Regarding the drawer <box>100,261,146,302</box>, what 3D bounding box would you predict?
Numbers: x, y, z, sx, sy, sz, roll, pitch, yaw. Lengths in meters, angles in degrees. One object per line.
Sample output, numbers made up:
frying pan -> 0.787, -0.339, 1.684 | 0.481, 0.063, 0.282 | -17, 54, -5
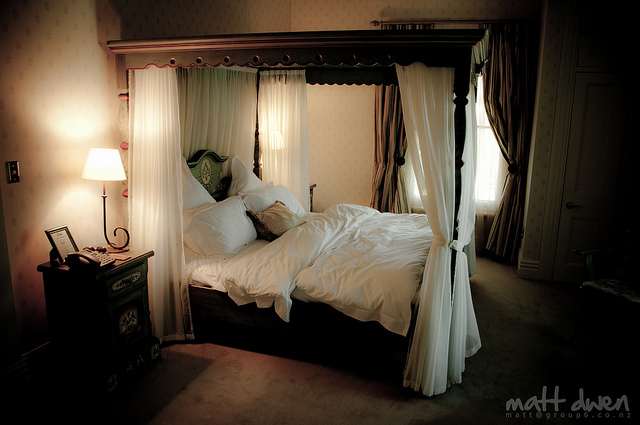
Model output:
drawer -> -1.828, 0.596, 3.940 | 0.315, 0.241, 0.467 | 6, 15, 26

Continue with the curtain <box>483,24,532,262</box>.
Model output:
curtain -> 2.567, -0.957, 6.083 | 0.639, 3.213, 0.375 | 6, 12, 25

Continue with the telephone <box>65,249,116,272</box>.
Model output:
telephone -> -1.954, 0.403, 3.704 | 0.246, 0.103, 0.199 | 7, 16, 0

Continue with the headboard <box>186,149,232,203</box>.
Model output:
headboard -> -1.311, -0.445, 5.033 | 0.070, 0.553, 0.707 | 5, 11, 28

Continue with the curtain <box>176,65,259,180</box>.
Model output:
curtain -> -1.207, -1.063, 5.012 | 0.121, 1.286, 1.163 | 10, 15, 32

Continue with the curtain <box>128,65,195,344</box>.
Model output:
curtain -> -1.557, -0.050, 4.241 | 0.594, 2.676, 0.366 | -1, 11, -6

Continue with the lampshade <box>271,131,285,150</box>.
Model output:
lampshade -> -0.531, -0.884, 5.513 | 0.224, 0.251, 0.177 | 0, 6, 9

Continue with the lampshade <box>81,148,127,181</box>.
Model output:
lampshade -> -1.907, -0.418, 3.854 | 0.282, 0.215, 0.289 | 11, 14, 35

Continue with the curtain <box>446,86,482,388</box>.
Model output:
curtain -> 1.378, 0.232, 3.932 | 0.300, 2.585, 0.784 | 5, 12, 22
